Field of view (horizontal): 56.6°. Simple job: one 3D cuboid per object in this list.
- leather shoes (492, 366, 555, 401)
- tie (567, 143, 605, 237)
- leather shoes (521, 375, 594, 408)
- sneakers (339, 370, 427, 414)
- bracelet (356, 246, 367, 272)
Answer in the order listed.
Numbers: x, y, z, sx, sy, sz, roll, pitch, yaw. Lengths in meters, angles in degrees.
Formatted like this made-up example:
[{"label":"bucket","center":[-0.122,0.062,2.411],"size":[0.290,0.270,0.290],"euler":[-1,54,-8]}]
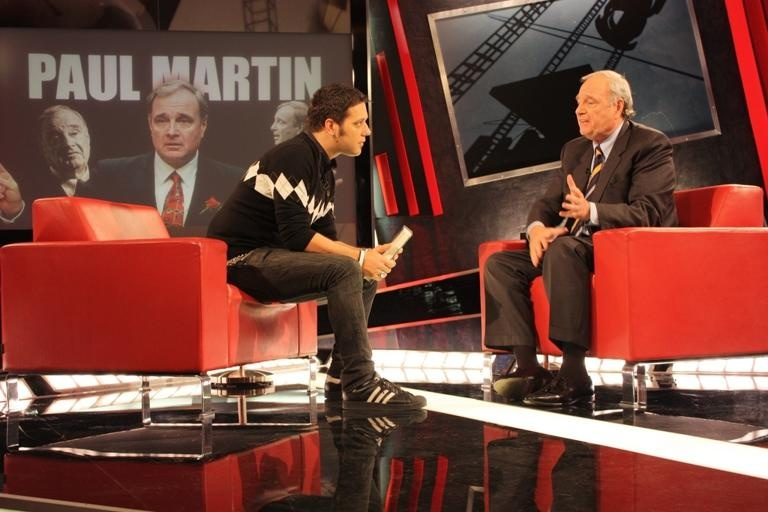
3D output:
[{"label":"leather shoes","center":[0.715,0.623,3.660],"size":[0.331,0.120,0.172],"euler":[4,-22,-8]},{"label":"tie","center":[1.107,-0.396,3.855],"size":[0.098,0.632,0.110],"euler":[30,-18,-29]},{"label":"leather shoes","center":[0.850,0.663,3.489],"size":[0.292,0.102,0.148],"euler":[-1,-6,-10]},{"label":"sneakers","center":[-0.001,0.668,3.450],"size":[0.435,0.162,0.160],"euler":[0,-2,-6]},{"label":"bracelet","center":[-0.112,0.011,3.421],"size":[0.032,0.076,0.059],"euler":[9,-11,-8]}]
